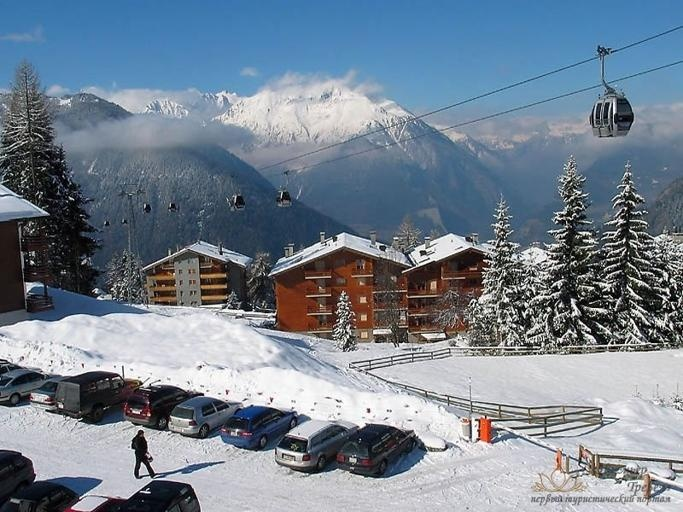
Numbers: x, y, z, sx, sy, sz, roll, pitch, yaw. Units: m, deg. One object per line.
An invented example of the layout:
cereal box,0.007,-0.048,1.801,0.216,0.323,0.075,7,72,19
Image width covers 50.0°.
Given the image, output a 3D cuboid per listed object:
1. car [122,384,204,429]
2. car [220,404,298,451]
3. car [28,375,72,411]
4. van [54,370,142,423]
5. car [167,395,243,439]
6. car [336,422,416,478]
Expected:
car,-11.143,9.376,46.025,2.414,2.412,5.502,5,4,28
car,-4.830,10.082,43.009,2.275,2.146,5.315,-1,-2,22
car,-18.042,8.518,45.464,1.248,0.981,2.855,12,12,20
van,-15.215,8.787,46.339,2.957,2.794,5.463,2,5,26
car,-8.357,9.747,45.356,2.556,2.031,5.575,3,5,25
car,2.075,10.914,41.923,3.509,2.674,3.442,-3,-1,16
